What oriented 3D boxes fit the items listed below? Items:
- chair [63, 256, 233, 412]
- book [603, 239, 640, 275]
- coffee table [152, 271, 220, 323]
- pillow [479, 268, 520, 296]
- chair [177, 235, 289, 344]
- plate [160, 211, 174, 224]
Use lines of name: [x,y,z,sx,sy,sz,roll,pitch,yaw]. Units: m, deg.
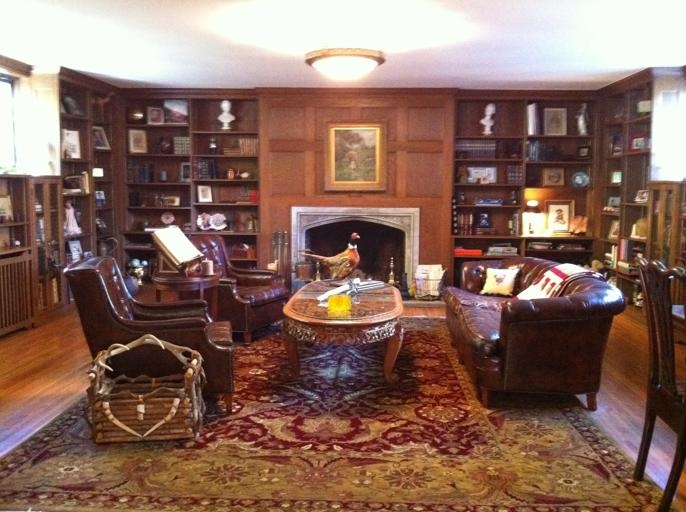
chair: [-1.498,0.482,4.340,1.829,1.246,1.115,-2,9,-11]
book: [3.846,0.012,6.962,0.254,0.471,0.598,-1,4,-3]
coffee table: [-1.577,0.383,5.317,0.768,0.559,0.639,0,5,-2]
pillow: [1.758,0.276,5.670,0.403,0.316,0.191,11,-13,31]
chair: [-1.207,0.304,6.299,1.691,1.297,1.134,3,10,11]
plate: [-2.962,-0.645,8.463,0.262,0.186,0.049,-3,-19,3]
